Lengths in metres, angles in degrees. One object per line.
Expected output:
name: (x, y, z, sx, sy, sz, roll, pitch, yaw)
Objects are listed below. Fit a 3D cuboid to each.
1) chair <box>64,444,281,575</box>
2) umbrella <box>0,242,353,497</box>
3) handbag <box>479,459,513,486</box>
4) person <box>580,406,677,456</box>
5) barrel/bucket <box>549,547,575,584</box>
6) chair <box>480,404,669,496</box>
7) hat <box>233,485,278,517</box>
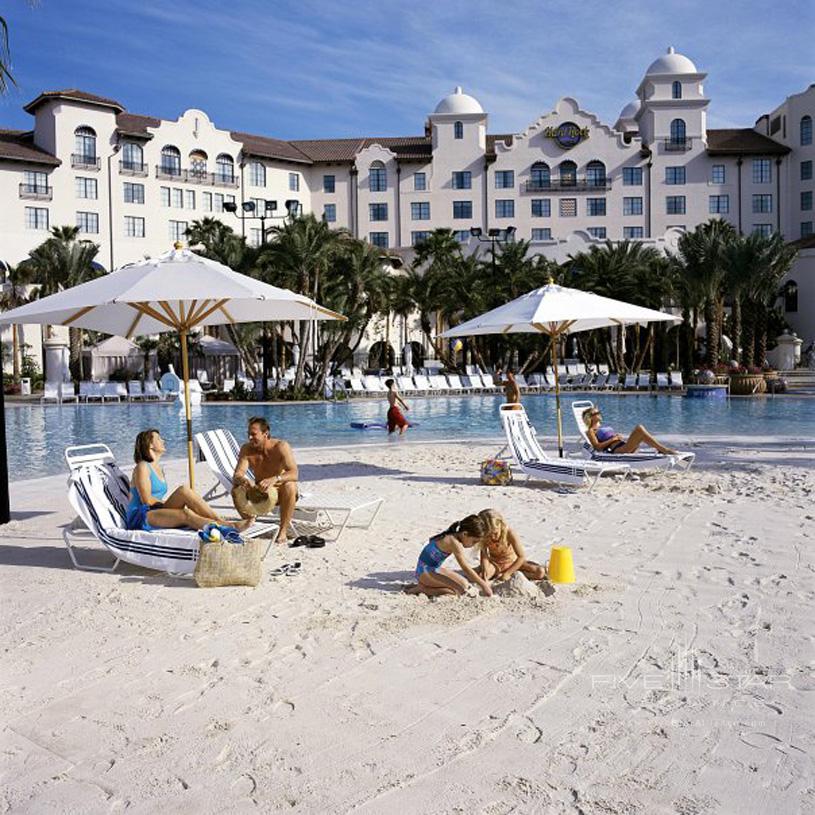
chair: (-2.081, 0.799, 6.748, 1.380, 0.879, 0.923, 6, 7, 12)
umbrella: (-2.168, -0.737, 8.420, 2.722, 2.029, 2.662, -2, 0, -38)
handbag: (1.070, 0.788, 10.898, 0.265, 0.248, 0.334, -1, -1, 9)
person: (2.906, 0.310, 11.825, 1.120, 0.747, 0.556, -1, 4, 23)
barrel/bucket: (1.034, 1.066, 6.108, 0.198, 0.215, 0.252, -2, 6, -5)
chair: (1.747, 0.654, 10.703, 1.373, 0.824, 1.414, -2, 0, 39)
hat: (-1.294, 0.790, 7.617, 0.259, 0.156, 0.299, 3, -2, -30)
